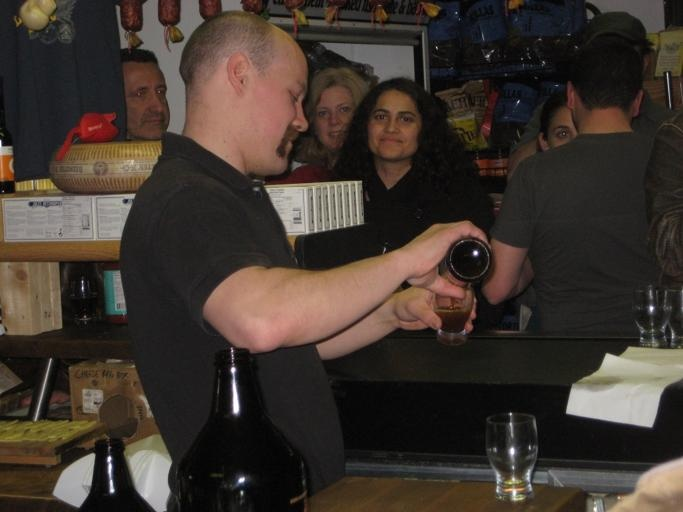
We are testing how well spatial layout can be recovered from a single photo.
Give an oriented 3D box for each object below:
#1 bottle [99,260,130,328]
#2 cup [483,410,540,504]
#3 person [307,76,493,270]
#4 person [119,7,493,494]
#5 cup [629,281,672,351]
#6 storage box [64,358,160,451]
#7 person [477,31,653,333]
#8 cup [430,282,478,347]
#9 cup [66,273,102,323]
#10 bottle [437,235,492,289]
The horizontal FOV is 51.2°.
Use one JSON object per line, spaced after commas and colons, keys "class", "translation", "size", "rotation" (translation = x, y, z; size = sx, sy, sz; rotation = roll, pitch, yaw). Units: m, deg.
{"class": "bottle", "translation": [-0.872, 0.152, 2.658], "size": [0.144, 0.214, 0.146], "rotation": [-7, -7, -1]}
{"class": "cup", "translation": [0.372, 0.443, 1.549], "size": [0.106, 0.143, 0.126], "rotation": [0, 11, 9]}
{"class": "person", "translation": [0.300, -0.394, 3.609], "size": [0.961, 0.909, 0.521], "rotation": [8, 8, 24]}
{"class": "person", "translation": [-0.273, -0.096, 2.400], "size": [1.124, 1.836, 1.099], "rotation": [-4, 5, -9]}
{"class": "cup", "translation": [0.929, 0.188, 2.121], "size": [0.107, 0.156, 0.193], "rotation": [2, 12, 20]}
{"class": "storage box", "translation": [-0.778, 0.486, 2.613], "size": [0.357, 0.337, 0.347], "rotation": [-5, -2, -6]}
{"class": "person", "translation": [0.873, -0.264, 2.726], "size": [0.614, 1.104, 0.290], "rotation": [0, 11, 10]}
{"class": "cup", "translation": [0.289, 0.149, 1.872], "size": [0.109, 0.149, 0.090], "rotation": [0, 8, 3]}
{"class": "cup", "translation": [-0.985, 0.162, 2.711], "size": [0.151, 0.160, 0.149], "rotation": [-2, 2, 0]}
{"class": "bottle", "translation": [0.289, 0.013, 1.702], "size": [0.076, 0.074, 0.121], "rotation": [-27, 6, 17]}
